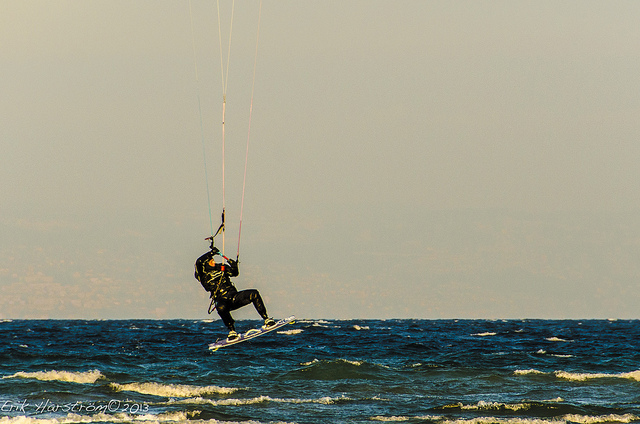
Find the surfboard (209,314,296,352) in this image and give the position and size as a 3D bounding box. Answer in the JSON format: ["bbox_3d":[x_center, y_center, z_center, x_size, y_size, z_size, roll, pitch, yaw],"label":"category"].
[{"bbox_3d":[-5.127,8.822,93.649,6.672,1.116,1.368,-20,-34,-4],"label":"surfboard"}]
